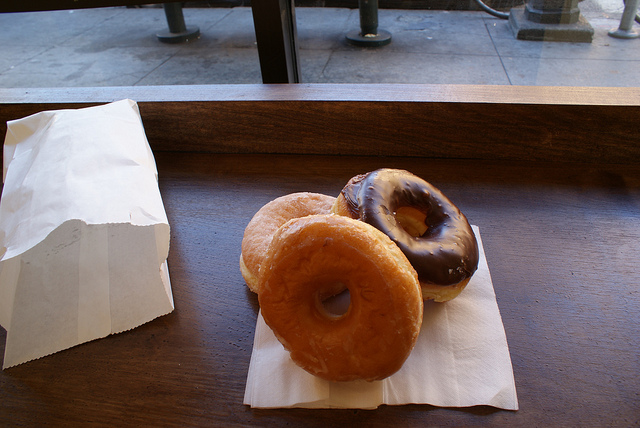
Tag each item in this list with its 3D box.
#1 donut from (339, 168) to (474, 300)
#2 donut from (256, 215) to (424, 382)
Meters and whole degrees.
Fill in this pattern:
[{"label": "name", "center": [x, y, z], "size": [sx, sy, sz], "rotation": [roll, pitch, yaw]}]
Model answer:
[{"label": "donut", "center": [0.149, 0.067, 1.222], "size": [0.319, 0.116, 0.301], "rotation": [5, 45, -37]}, {"label": "donut", "center": [0.064, 0.143, 1.102], "size": [0.346, 0.331, 0.126], "rotation": [42, 20, 8]}]
